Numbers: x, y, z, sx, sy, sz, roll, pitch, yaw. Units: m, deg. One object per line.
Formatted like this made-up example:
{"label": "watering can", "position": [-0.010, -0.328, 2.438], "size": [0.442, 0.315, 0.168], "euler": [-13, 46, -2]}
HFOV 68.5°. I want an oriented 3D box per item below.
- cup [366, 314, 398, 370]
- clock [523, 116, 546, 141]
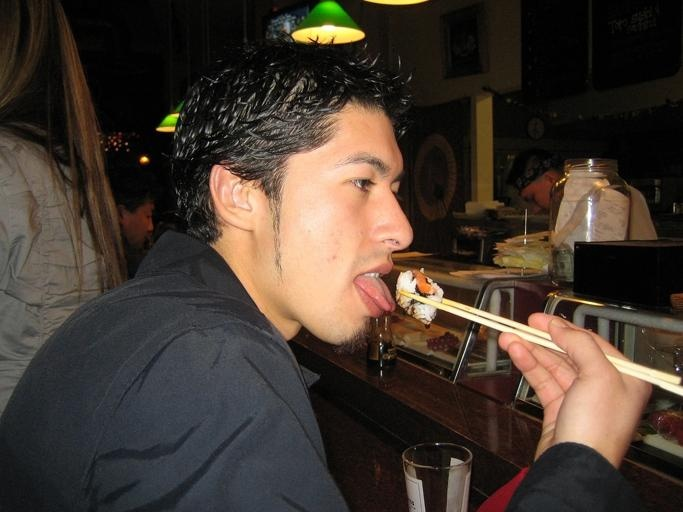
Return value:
{"label": "cup", "position": [0.195, 0.449, 2.562], "size": [0.137, 0.340, 0.169], "euler": [-2, 4, -25]}
{"label": "clock", "position": [2.550, -1.722, 6.674], "size": [0.319, 0.294, 0.044], "euler": [-2, 19, -7]}
